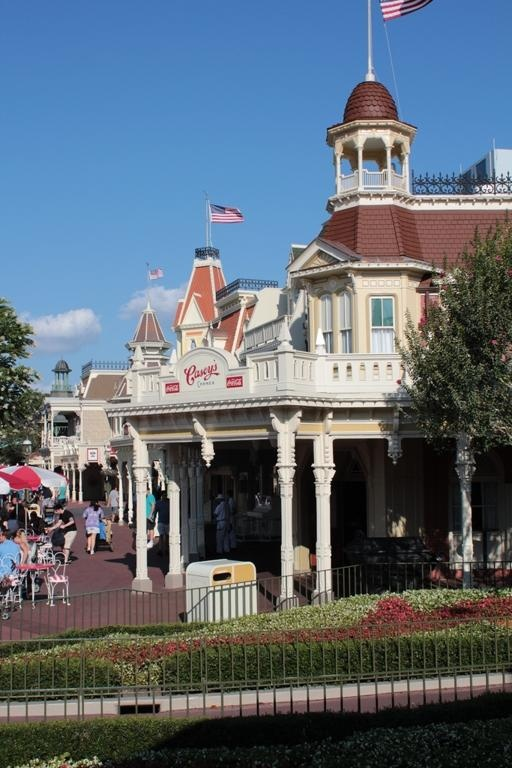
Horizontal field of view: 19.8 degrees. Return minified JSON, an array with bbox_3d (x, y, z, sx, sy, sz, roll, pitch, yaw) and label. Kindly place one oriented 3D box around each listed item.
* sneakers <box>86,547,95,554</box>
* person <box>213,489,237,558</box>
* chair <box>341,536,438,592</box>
[{"bbox_3d":[-3.573,3.645,31.842,0.092,0.211,0.202,4,-11,-31],"label":"sneakers"},{"bbox_3d":[-0.655,2.926,30.423,0.402,1.211,1.307,-2,-6,-3],"label":"person"},{"bbox_3d":[2.069,2.669,22.563,0.874,0.653,1.083,5,-13,-26],"label":"chair"}]
